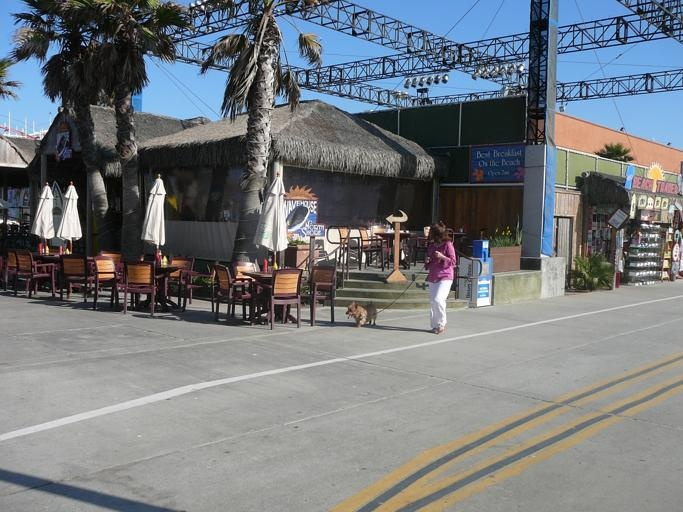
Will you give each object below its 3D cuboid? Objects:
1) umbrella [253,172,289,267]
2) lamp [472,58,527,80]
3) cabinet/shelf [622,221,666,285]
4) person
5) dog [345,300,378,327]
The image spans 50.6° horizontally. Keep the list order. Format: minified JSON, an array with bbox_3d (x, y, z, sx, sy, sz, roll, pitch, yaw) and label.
[{"bbox_3d":[-1.431,-0.865,15.289,0.746,1.542,0.625,5,8,24],"label":"umbrella"},{"bbox_3d":[7.483,-8.901,34.463,2.311,1.043,3.408,4,8,12],"label":"lamp"},{"bbox_3d":[12.043,-0.022,27.417,1.089,2.352,2.255,5,-2,-19],"label":"cabinet/shelf"},{"bbox_3d":[1.955,0.427,14.264,0.535,2.148,0.670,3,7,8],"label":"person"},{"bbox_3d":[0.385,1.167,14.720,0.280,0.533,0.890,-4,-11,33],"label":"dog"}]
